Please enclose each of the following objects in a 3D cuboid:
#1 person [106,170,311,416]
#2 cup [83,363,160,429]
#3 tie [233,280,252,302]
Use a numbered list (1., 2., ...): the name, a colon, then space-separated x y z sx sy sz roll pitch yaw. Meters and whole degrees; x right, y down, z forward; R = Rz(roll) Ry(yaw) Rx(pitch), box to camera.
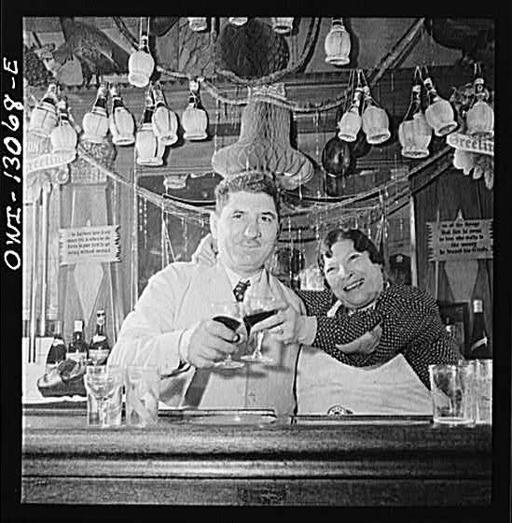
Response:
1. person: -0.095 0.357 6.762 0.716 1.304 0.600 -1 10 -27
2. cup: -0.496 0.519 6.416 0.262 0.270 0.194 0 2 3
3. tie: -0.046 0.114 6.742 0.064 0.087 0.026 -5 4 -9
